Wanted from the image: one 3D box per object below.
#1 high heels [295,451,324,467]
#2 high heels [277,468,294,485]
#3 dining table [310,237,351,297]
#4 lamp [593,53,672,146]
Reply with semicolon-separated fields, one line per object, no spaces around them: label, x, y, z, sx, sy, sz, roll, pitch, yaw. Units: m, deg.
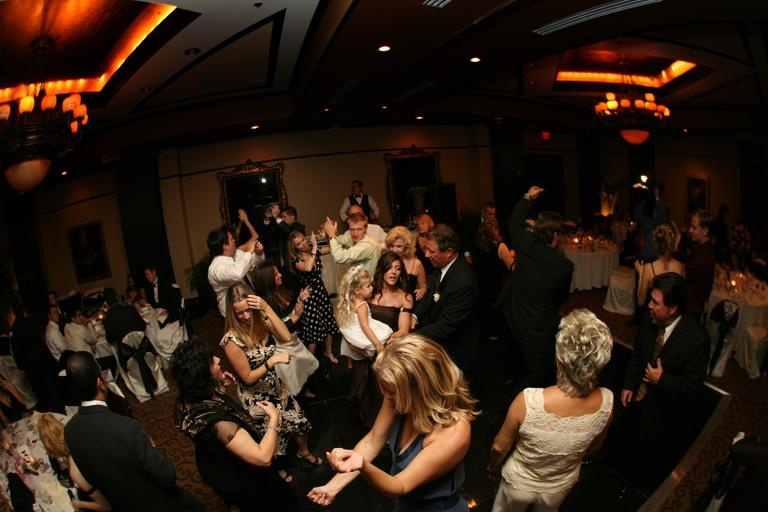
high heels;-0.770;2.137;5.420;0.312;0.121;0.121;6;12;1
high heels;-0.995;2.245;5.293;0.197;0.055;0.079;36;16;18
dining table;-0.746;0.147;7.185;0.868;0.876;0.305;-5;5;-36
lamp;3.446;-2.010;7.154;0.869;1.313;0.867;3;-3;-32
